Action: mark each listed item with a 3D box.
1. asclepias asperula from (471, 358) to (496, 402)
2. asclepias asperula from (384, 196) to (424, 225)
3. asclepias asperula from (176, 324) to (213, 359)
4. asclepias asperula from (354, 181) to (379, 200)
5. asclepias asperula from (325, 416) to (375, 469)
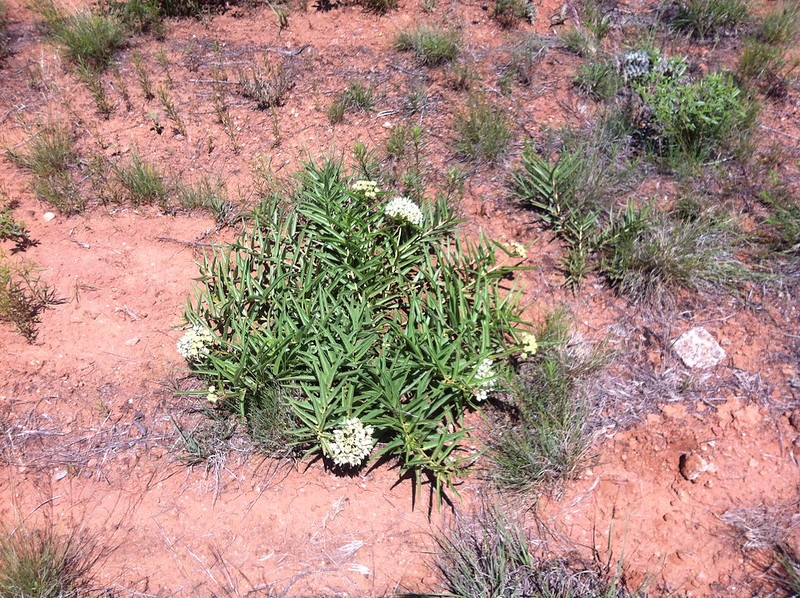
[{"bbox_3d":[0.586,0.557,4.433,0.090,0.242,0.260,7,86,9],"label":"asclepias asperula"},{"bbox_3d":[0.029,-0.668,4.984,0.305,0.158,0.181,13,53,5],"label":"asclepias asperula"},{"bbox_3d":[-1.466,0.313,4.594,0.231,0.101,0.251,-26,73,9],"label":"asclepias asperula"},{"bbox_3d":[-0.259,-0.864,5.113,0.140,0.161,0.126,11,13,16],"label":"asclepias asperula"},{"bbox_3d":[-0.347,0.950,4.325,0.348,0.236,0.283,-4,53,-7],"label":"asclepias asperula"}]
